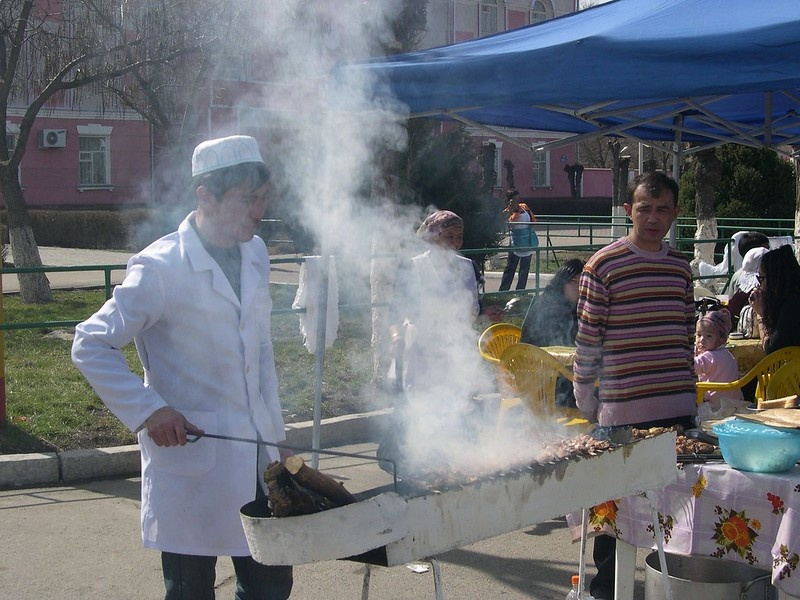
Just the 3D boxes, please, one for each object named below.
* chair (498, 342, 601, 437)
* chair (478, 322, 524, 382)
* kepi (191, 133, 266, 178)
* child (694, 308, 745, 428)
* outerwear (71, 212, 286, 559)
[{"bbox_3d":[0.951,0.609,8.141,0.475,0.686,0.489,-22,25,-36],"label":"chair"},{"bbox_3d":[0.767,0.324,9.047,0.305,0.269,0.330,3,-19,-8],"label":"chair"},{"bbox_3d":[-0.923,-0.770,6.487,0.374,0.223,0.167,0,4,-10],"label":"kepi"},{"bbox_3d":[2.272,0.510,8.687,0.402,0.812,0.329,-3,16,14],"label":"child"},{"bbox_3d":[-1.158,0.472,6.507,1.072,1.869,0.491,0,4,-7],"label":"outerwear"}]
